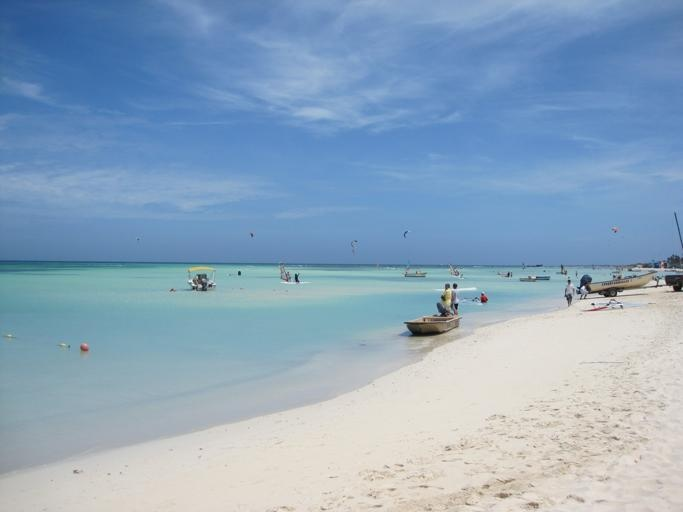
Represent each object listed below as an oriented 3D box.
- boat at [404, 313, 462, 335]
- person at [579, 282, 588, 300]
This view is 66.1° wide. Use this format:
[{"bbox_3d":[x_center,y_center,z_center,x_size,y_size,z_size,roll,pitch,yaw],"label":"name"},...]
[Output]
[{"bbox_3d":[4.064,3.020,23.002,1.255,0.891,2.265,1,12,40],"label":"boat"},{"bbox_3d":[14.642,2.192,31.521,0.515,0.958,1.914,-4,10,24],"label":"person"}]
